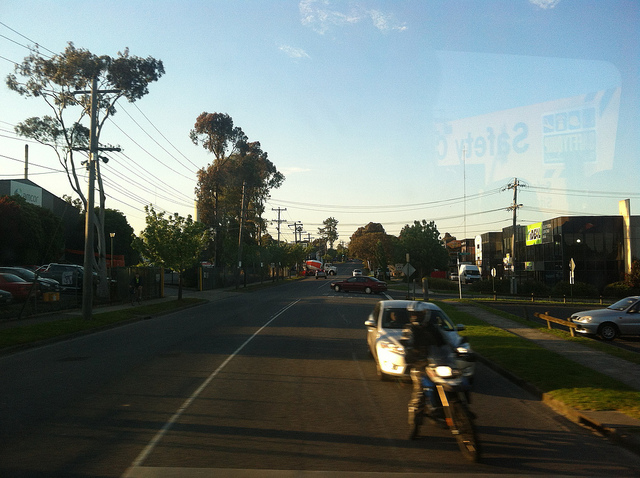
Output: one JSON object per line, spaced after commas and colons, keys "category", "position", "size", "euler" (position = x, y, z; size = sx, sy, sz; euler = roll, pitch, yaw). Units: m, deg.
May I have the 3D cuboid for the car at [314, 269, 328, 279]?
{"category": "car", "position": [0.335, 6.146, 101.905], "size": [1.375, 1.176, 3.108], "euler": [0, 2, 2]}

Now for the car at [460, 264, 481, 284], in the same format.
{"category": "car", "position": [19.184, 4.655, 75.955], "size": [1.892, 2.079, 3.697], "euler": [-2, -10, 4]}

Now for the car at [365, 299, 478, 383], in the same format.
{"category": "car", "position": [2.113, 2.403, 14.490], "size": [1.560, 1.229, 3.457], "euler": [-1, -7, -5]}

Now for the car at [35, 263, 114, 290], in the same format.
{"category": "car", "position": [-14.654, 2.348, 35.563], "size": [3.694, 1.494, 1.787], "euler": [0, -1, 2]}

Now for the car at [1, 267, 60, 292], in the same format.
{"category": "car", "position": [-16.146, 2.326, 33.119], "size": [3.324, 1.257, 1.508], "euler": [1, -1, -3]}

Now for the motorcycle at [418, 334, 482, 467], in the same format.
{"category": "motorcycle", "position": [2.525, 2.982, 11.509], "size": [1.148, 2.078, 1.854], "euler": [1, 3, 11]}

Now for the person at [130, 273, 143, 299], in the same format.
{"category": "person", "position": [-11.279, 3.047, 36.800], "size": [0.623, 1.675, 2.952], "euler": [-1, 2, -17]}

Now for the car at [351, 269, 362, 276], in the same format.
{"category": "car", "position": [5.947, 5.487, 95.480], "size": [1.202, 0.822, 2.383], "euler": [0, -9, 0]}
